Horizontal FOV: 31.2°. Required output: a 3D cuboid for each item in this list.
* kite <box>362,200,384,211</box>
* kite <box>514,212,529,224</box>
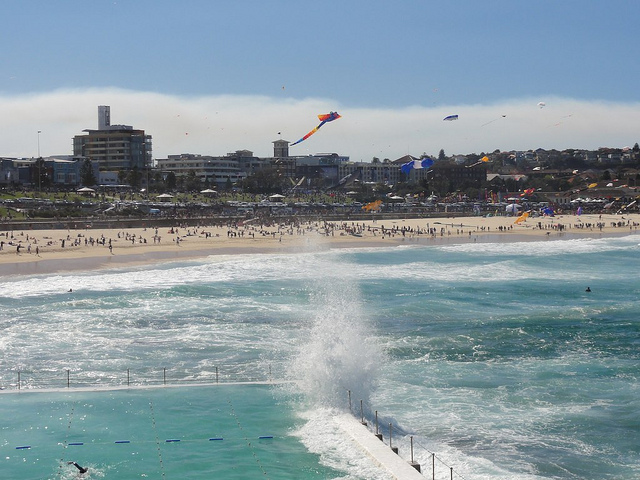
[{"bbox_3d":[6.398,-4.361,143.848,1.862,0.768,4.504,13,16,29],"label":"kite"},{"bbox_3d":[22.554,-2.499,128.214,1.156,0.708,5.010,-19,2,17],"label":"kite"}]
